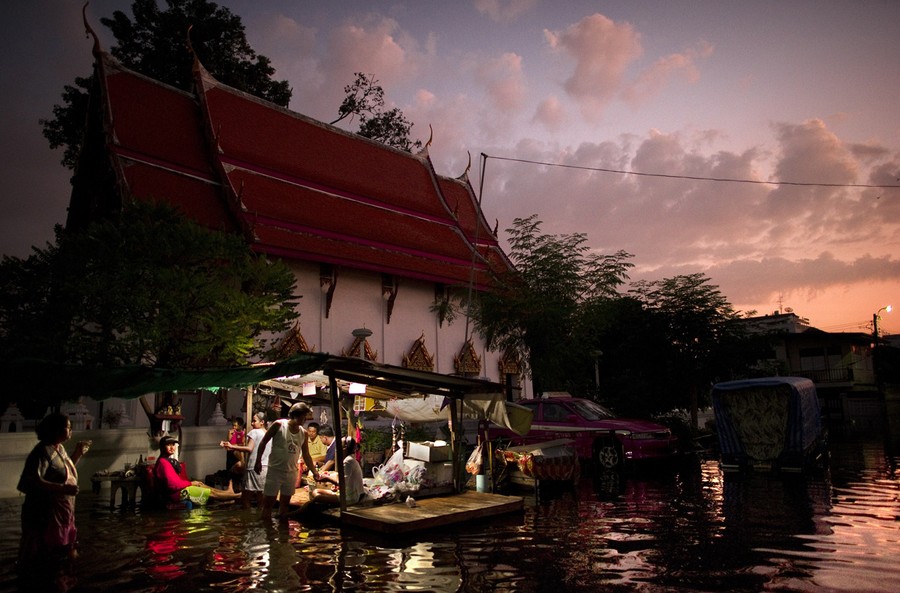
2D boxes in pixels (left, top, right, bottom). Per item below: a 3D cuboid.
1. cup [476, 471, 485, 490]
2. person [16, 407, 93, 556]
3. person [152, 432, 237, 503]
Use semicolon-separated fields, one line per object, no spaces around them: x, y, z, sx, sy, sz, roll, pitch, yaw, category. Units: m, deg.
0.765;4.576;17.053;0.210;0.383;0.210;-1;-11;0;cup
-6.659;3.138;11.522;0.911;2.379;0.690;5;-12;-29;person
-6.362;4.222;16.734;1.596;1.640;0.883;4;-12;-25;person
